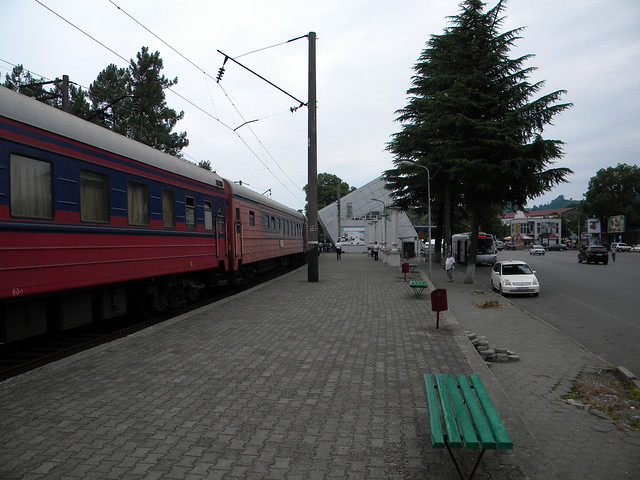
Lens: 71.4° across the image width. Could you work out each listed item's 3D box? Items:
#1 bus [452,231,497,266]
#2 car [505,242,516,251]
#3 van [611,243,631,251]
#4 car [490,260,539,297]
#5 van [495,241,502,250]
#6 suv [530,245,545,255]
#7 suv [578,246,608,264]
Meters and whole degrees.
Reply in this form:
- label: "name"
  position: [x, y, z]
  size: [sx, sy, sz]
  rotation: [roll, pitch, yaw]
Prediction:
- label: "bus"
  position: [14.107, 0.667, 39.881]
  size: [3.017, 3.372, 8.408]
  rotation: [0, -7, 4]
- label: "car"
  position: [41.678, 1.126, 97.696]
  size: [3.250, 1.389, 2.055]
  rotation: [2, -1, -22]
- label: "van"
  position: [46.695, 0.957, 69.041]
  size: [2.195, 1.013, 1.310]
  rotation: [-3, 3, -1]
- label: "car"
  position: [9.017, 1.751, 20.537]
  size: [1.590, 1.460, 2.022]
  rotation: [2, 3, 7]
- label: "van"
  position: [35.690, 0.883, 88.965]
  size: [1.551, 1.347, 2.730]
  rotation: [0, 10, 17]
- label: "suv"
  position: [30.498, 1.290, 62.894]
  size: [1.202, 0.849, 2.491]
  rotation: [1, 5, 12]
- label: "suv"
  position: [26.245, 1.273, 42.887]
  size: [1.548, 1.148, 2.856]
  rotation: [0, 2, 21]
